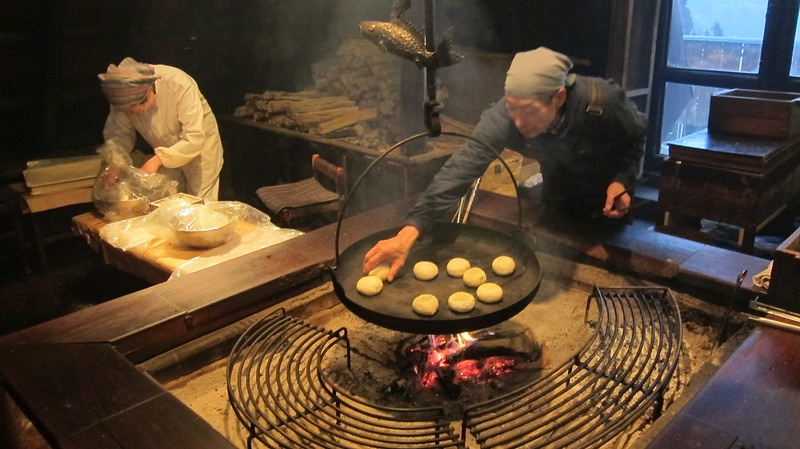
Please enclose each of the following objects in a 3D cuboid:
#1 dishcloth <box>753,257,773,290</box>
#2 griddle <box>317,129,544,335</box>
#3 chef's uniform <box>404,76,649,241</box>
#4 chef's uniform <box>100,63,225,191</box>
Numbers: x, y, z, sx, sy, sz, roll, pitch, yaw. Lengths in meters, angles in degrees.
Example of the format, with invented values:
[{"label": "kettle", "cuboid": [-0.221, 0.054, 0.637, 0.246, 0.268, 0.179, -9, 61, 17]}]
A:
[{"label": "dishcloth", "cuboid": [2.992, 0.405, 4.569, 0.177, 0.116, 0.267, 9, 59, 40]}, {"label": "griddle", "cuboid": [0.355, 0.127, 4.775, 1.843, 1.592, 2.682, 2, 3, 2]}, {"label": "chef's uniform", "cuboid": [1.193, -0.604, 5.381, 1.507, 1.575, 0.844, -46, 68, -4]}, {"label": "chef's uniform", "cuboid": [-2.711, -1.131, 6.373, 1.345, 1.607, 1.043, 3, 0, -5]}]
